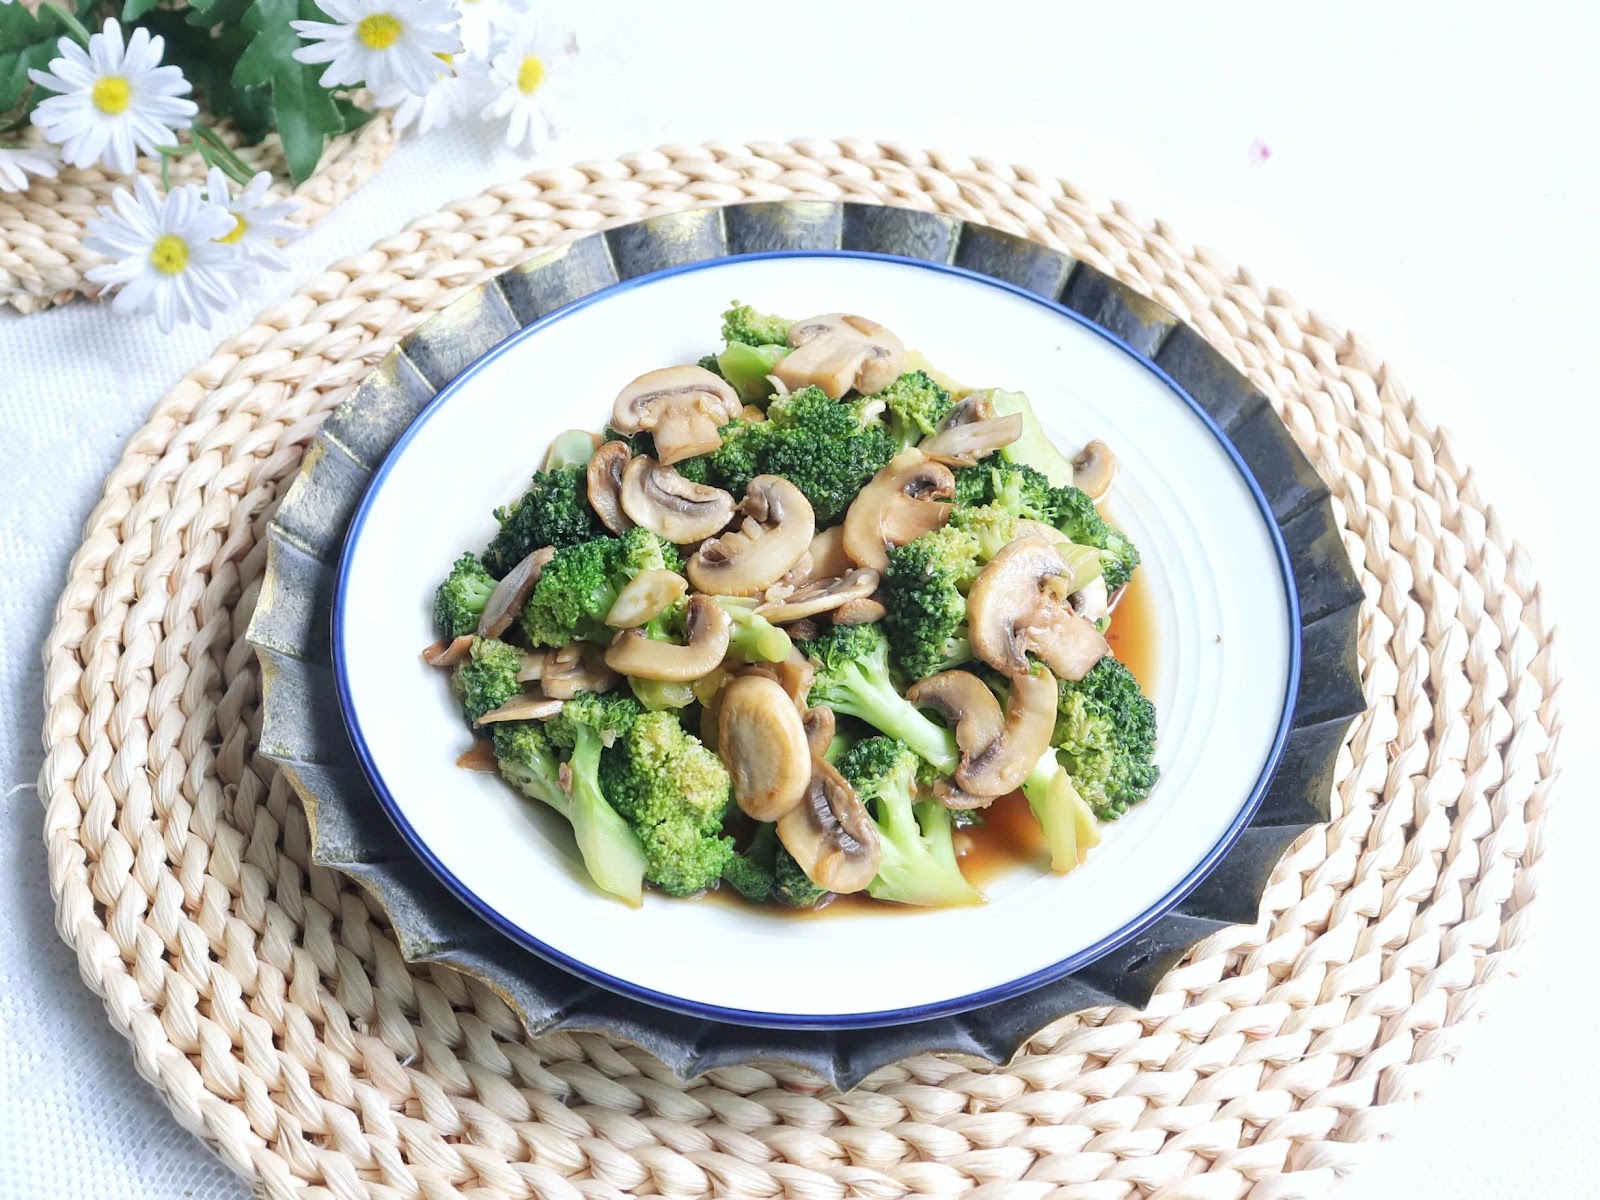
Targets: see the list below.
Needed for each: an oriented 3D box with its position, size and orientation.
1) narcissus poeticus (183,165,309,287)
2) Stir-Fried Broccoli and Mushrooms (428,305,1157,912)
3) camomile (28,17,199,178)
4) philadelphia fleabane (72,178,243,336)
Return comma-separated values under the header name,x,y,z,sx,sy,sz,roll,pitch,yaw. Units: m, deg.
name,x,y,z,sx,sy,sz,roll,pitch,yaw
narcissus poeticus,-1.848,-1.195,4.868,0.306,0.421,0.476,8,106,13
Stir-Fried Broccoli and Mushrooms,-0.052,0.082,4.228,1.775,0.611,1.671,-16,86,-2
camomile,-2.140,-1.577,4.672,0.121,0.461,0.478,47,47,8
philadelphia fleabane,-1.977,-1.066,4.711,0.454,0.143,0.488,3,98,-18
